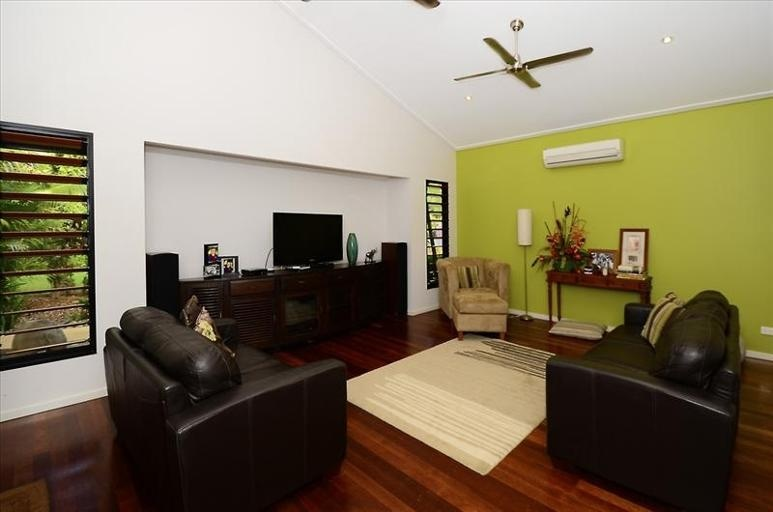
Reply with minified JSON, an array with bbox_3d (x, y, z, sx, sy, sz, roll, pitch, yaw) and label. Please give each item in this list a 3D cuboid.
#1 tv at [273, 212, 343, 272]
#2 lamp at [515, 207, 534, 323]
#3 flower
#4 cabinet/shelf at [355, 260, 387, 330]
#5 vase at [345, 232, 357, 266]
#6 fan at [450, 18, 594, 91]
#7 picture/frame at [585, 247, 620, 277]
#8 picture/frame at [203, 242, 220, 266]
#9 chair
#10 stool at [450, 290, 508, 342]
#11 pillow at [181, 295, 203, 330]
[{"bbox_3d":[-1.111,-0.188,6.688,0.823,0.580,0.087,-3,2,-44],"label":"tv"},{"bbox_3d":[2.106,0.126,7.527,0.260,1.658,0.511,2,12,13],"label":"lamp"},{"bbox_3d":[2.782,-0.267,7.404,0.855,1.052,0.896,-2,5,-32],"label":"flower"},{"bbox_3d":[-0.252,0.600,7.259,0.325,0.886,0.922,4,6,36],"label":"cabinet/shelf"},{"bbox_3d":[-0.507,-0.089,7.185,0.132,0.454,0.336,-1,11,-1],"label":"vase"},{"bbox_3d":[1.596,-2.114,5.405,0.948,0.351,0.954,0,1,-1],"label":"fan"},{"bbox_3d":[3.032,0.094,6.887,0.028,0.386,0.380,3,1,-43],"label":"picture/frame"},{"bbox_3d":[-2.161,-0.010,6.054,0.040,0.383,0.288,6,5,42],"label":"picture/frame"},{"bbox_3d":[1.269,0.542,7.111,0.792,0.769,1.193,0,-5,2],"label":"chair"},{"bbox_3d":[1.257,0.783,6.758,0.549,0.490,0.787,1,-2,-2],"label":"stool"},{"bbox_3d":[-1.888,0.554,4.759,0.130,0.310,0.257,4,-41,-5],"label":"pillow"}]
